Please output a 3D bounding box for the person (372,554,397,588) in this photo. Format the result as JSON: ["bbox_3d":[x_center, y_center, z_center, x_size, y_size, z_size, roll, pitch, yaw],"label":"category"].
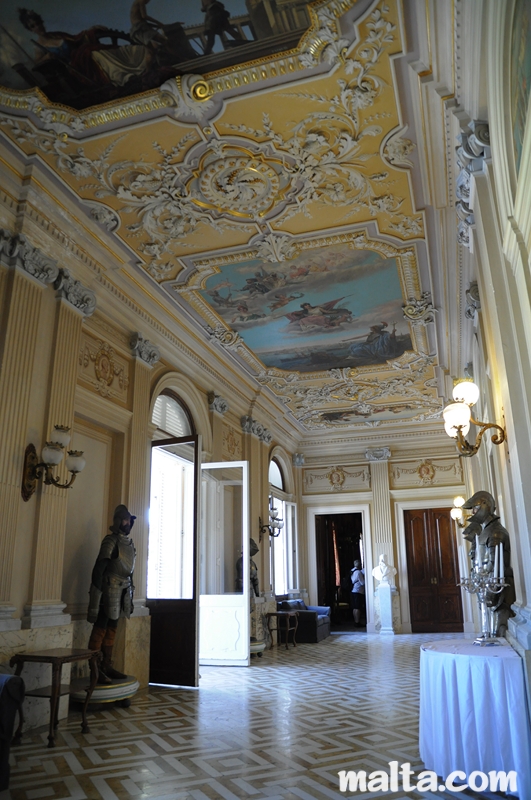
[{"bbox_3d":[3.100,4.451,12.839,0.779,1.034,0.372,-3,-42,12],"label":"person"}]

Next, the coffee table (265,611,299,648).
[{"bbox_3d":[0.328,4.622,10.068,0.624,0.722,1.023,-2,-14,4],"label":"coffee table"}]

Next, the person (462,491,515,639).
[{"bbox_3d":[1.562,1.121,3.458,0.308,0.965,0.527,-7,-16,22],"label":"person"}]

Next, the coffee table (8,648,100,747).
[{"bbox_3d":[-1.606,2.225,3.739,0.541,0.599,0.470,-12,-19,30],"label":"coffee table"}]

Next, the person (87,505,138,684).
[{"bbox_3d":[-1.507,1.869,4.874,0.471,1.645,0.420,10,-18,-35],"label":"person"}]

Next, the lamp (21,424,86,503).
[{"bbox_3d":[-1.902,0.584,4.572,0.413,0.687,0.726,-1,-14,1],"label":"lamp"}]
